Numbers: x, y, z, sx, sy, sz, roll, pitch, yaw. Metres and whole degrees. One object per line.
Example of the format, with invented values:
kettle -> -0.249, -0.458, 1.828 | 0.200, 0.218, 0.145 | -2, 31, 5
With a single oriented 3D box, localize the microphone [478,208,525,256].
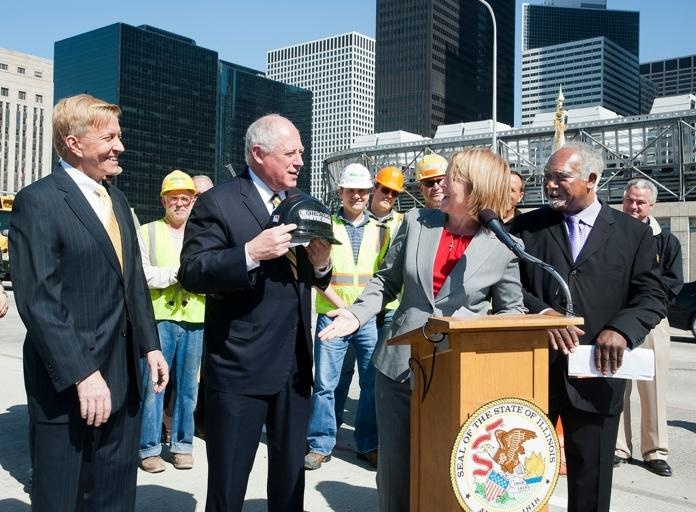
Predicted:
microphone -> 0.935, -0.166, 5.812 | 0.139, 0.142, 0.473 | -5, 44, -40

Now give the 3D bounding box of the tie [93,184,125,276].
tie -> -1.528, -0.184, 5.893 | 0.137, 0.533, 0.242 | -3, 6, -36

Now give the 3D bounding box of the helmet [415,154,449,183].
helmet -> 0.818, -0.883, 9.228 | 0.312, 0.233, 0.436 | -8, -2, 1

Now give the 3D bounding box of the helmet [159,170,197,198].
helmet -> -1.597, -0.697, 8.574 | 0.228, 0.162, 0.298 | 2, -8, -17

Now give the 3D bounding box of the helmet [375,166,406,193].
helmet -> 0.414, -0.752, 8.969 | 0.232, 0.153, 0.284 | 18, 7, -15

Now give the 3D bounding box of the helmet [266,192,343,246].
helmet -> -0.288, -0.243, 5.849 | 0.393, 0.261, 0.285 | 1, 2, -34

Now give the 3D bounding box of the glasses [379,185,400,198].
glasses -> 0.374, -0.631, 8.886 | 0.118, 0.036, 0.121 | 8, 31, -24
